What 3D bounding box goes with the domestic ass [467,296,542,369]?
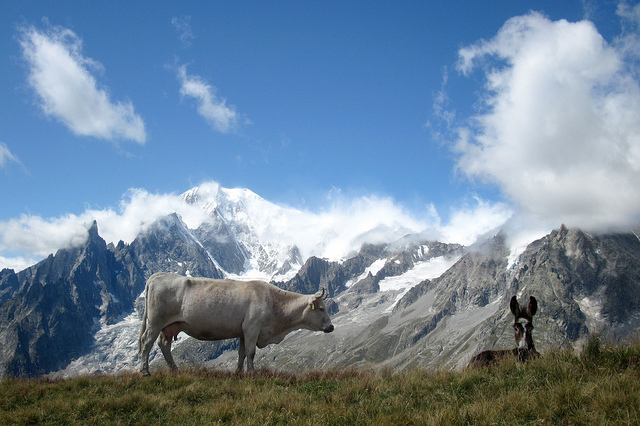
[{"bbox_3d":[8.845,5.497,24.097,2.859,3.028,1.636,-19,-29,22],"label":"domestic ass"}]
